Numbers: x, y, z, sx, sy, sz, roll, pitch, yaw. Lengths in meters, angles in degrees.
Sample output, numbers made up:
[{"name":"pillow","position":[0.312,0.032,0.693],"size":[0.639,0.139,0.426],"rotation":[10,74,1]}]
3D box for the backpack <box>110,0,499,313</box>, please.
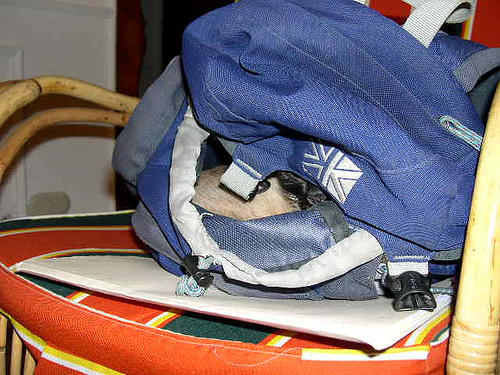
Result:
[{"name":"backpack","position":[0.009,-0.062,0.909],"size":[0.741,0.434,0.304],"rotation":[0,2,12]}]
